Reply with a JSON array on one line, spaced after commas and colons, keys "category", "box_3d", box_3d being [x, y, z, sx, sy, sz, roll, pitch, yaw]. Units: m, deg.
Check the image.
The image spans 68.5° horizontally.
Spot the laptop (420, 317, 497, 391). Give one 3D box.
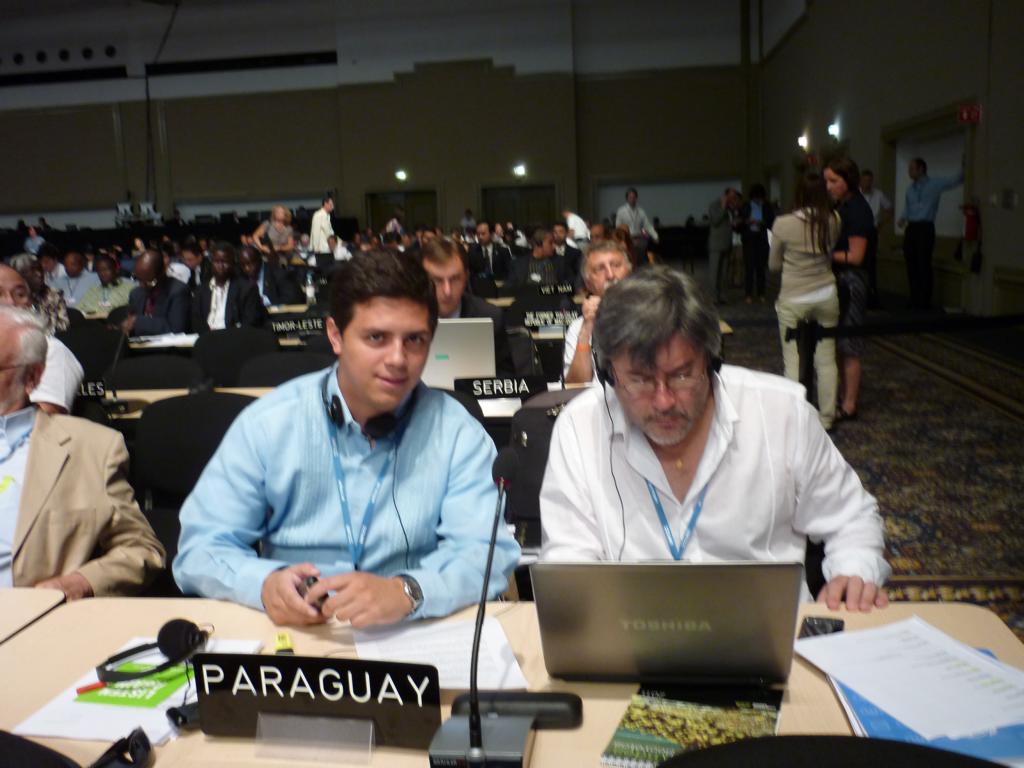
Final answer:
[{"category": "laptop", "box_3d": [-0.226, -0.171, 3.354, 0.329, 0.412, 0.263, 2, 10, 8]}]

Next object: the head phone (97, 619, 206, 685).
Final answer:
[{"category": "head phone", "box_3d": [-0.727, 0.537, 1.519, 0.144, 0.067, 0.165, -16, 10, 41]}]

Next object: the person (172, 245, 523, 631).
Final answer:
[{"category": "person", "box_3d": [-0.386, 0.138, 1.830, 0.732, 0.905, 0.586, 5, 10, -19]}]

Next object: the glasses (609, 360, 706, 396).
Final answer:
[{"category": "glasses", "box_3d": [0.335, -0.013, 1.707, 0.198, 0.070, 0.045, -3, 13, 6]}]

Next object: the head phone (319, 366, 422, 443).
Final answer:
[{"category": "head phone", "box_3d": [-0.355, 0.061, 1.868, 0.139, 0.201, 0.063, 5, 1, 2]}]

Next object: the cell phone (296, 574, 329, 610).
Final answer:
[{"category": "cell phone", "box_3d": [-0.448, 0.453, 1.657, 0.044, 0.073, 0.066, -17, -11, 10]}]
